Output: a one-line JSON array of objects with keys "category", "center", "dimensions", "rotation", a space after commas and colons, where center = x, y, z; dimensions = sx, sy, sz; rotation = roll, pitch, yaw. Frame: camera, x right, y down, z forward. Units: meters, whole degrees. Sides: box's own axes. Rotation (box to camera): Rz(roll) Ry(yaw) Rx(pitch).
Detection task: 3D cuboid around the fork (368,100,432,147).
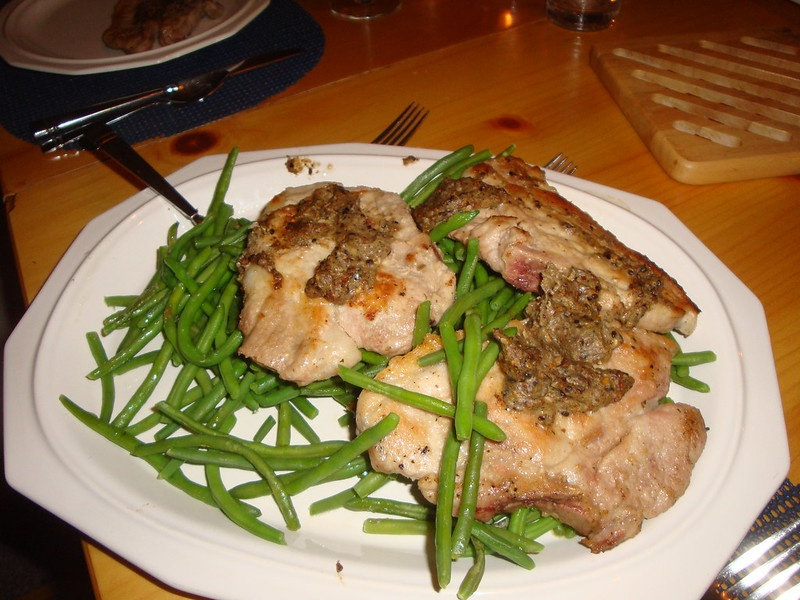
[{"category": "fork", "center": [-0.008, -1.328, 5.288], "dimensions": [0.117, 0.083, 0.754], "rotation": [34, 54, 16]}]
